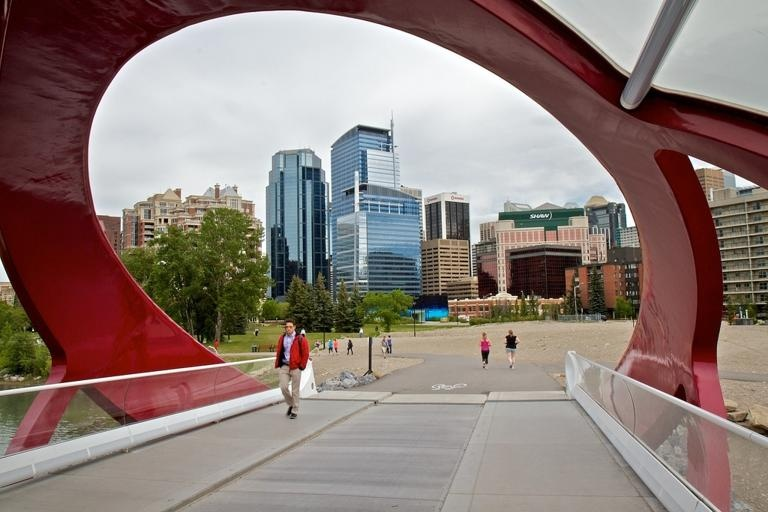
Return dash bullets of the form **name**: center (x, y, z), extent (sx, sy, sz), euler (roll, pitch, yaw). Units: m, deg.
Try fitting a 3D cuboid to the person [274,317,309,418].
- **person**: center (-1.835, 2.251, 11.388), extent (0.629, 1.853, 1.313), euler (1, -7, -10)
